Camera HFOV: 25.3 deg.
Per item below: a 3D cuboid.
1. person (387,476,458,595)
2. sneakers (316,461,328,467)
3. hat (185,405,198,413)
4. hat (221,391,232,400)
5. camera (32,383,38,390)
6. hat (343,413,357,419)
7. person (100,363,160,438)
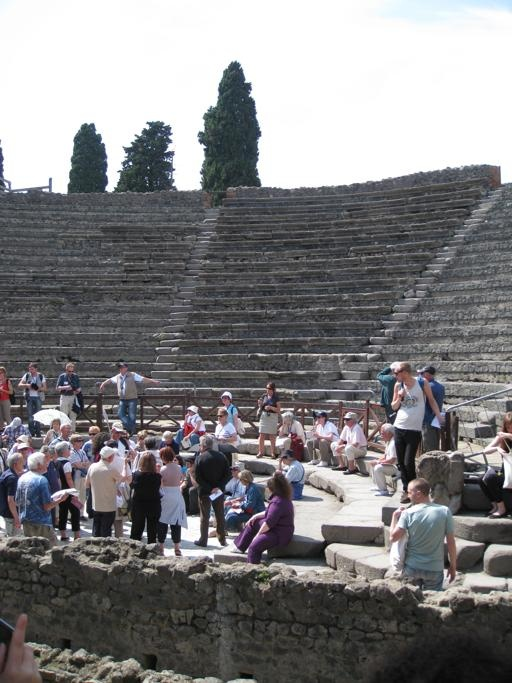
[{"bbox_3d":[1.544,2.026,10.646,0.625,1.433,0.454,2,9,10],"label":"person"},{"bbox_3d":[0.976,1.827,16.895,0.162,0.056,0.056,6,-11,-37],"label":"sneakers"},{"bbox_3d":[-0.918,1.008,16.827,0.113,0.053,0.149,7,-17,34],"label":"hat"},{"bbox_3d":[-0.444,0.803,16.824,0.149,0.103,0.205,-1,-34,21],"label":"hat"},{"bbox_3d":[-3.525,0.714,18.049,0.069,0.108,0.080,-11,4,-33],"label":"camera"},{"bbox_3d":[1.300,1.018,15.912,0.144,0.065,0.203,0,-8,19],"label":"hat"},{"bbox_3d":[-2.096,1.010,18.889,1.253,1.191,0.491,-3,-12,0],"label":"person"}]
